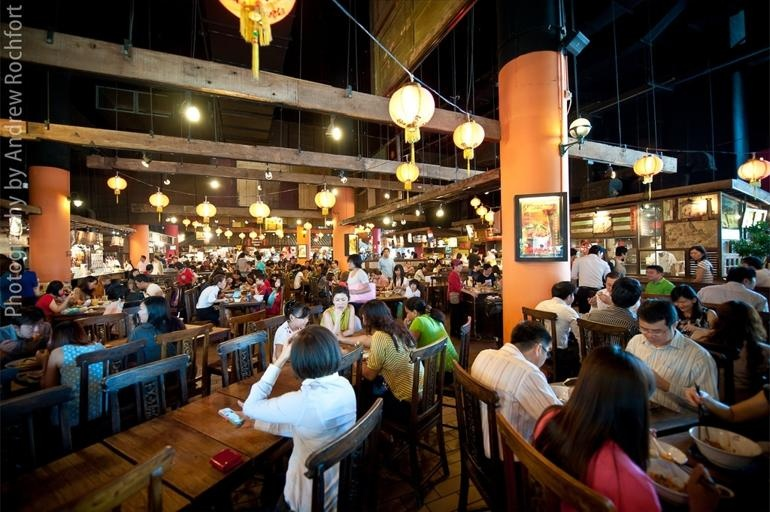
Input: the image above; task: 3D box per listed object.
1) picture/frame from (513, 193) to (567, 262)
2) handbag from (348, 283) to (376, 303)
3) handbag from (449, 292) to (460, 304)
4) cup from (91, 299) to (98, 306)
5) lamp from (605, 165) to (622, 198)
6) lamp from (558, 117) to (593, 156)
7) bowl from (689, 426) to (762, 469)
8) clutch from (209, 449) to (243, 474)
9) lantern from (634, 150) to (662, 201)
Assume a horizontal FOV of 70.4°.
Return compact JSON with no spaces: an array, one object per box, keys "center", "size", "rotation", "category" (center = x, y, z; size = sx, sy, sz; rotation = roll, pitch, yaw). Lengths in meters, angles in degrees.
[{"center":[3.001,-0.570,10.424],"size":[1.248,1.725,0.132],"rotation":[0,2,13],"category":"picture/frame"},{"center":[-0.496,0.838,12.302],"size":[0.395,0.381,0.546],"rotation":[0,2,-1],"category":"handbag"},{"center":[1.583,0.975,12.465],"size":[0.234,0.277,0.260],"rotation":[-2,-1,9],"category":"handbag"},{"center":[-6.302,1.019,11.925],"size":[0.118,0.086,0.115],"rotation":[-1,0,0],"category":"cup"},{"center":[6.381,-2.102,15.213],"size":[0.345,0.893,1.236],"rotation":[-2,3,22],"category":"lamp"},{"center":[3.531,-2.246,10.165],"size":[0.548,0.707,0.431],"rotation":[4,12,39],"category":"lamp"},{"center":[4.569,2.586,7.341],"size":[0.605,0.263,0.603],"rotation":[0,-3,0],"category":"bowl"},{"center":[-2.127,2.775,7.353],"size":[0.272,0.085,0.279],"rotation":[12,16,40],"category":"clutch"},{"center":[5.528,-1.669,11.488],"size":[0.485,1.019,0.480],"rotation":[-6,2,-19],"category":"lantern"}]
